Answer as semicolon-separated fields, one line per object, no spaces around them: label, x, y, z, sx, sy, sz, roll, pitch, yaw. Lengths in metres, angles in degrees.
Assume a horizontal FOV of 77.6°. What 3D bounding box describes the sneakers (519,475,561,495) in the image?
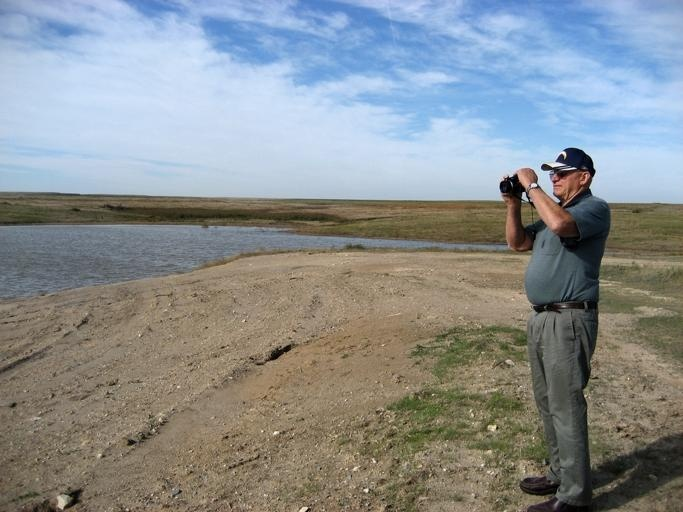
sneakers;2.176;2.494;4.650;0.389;0.129;0.191;0;3;22
